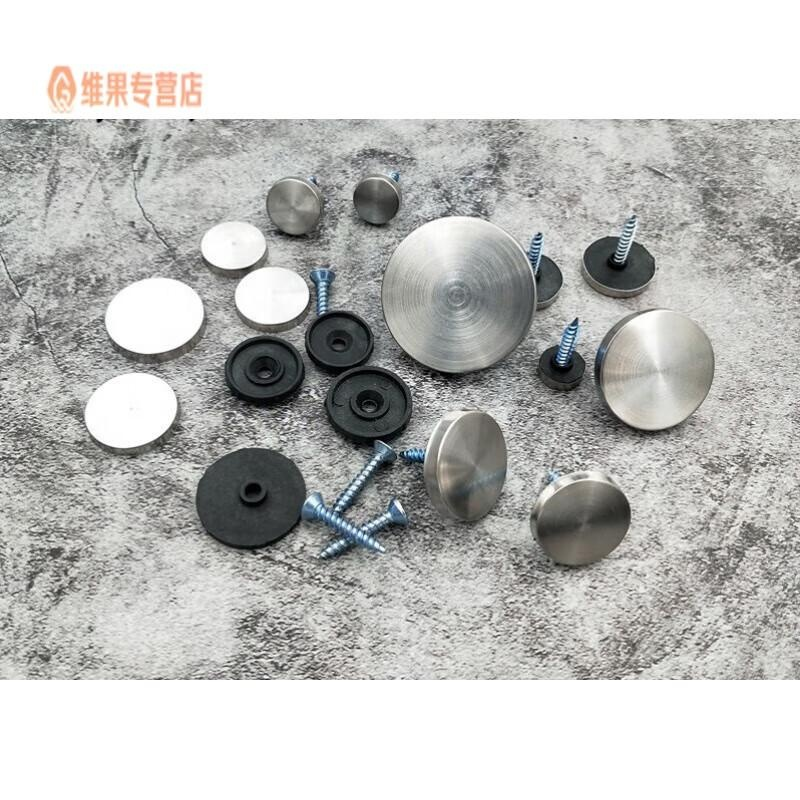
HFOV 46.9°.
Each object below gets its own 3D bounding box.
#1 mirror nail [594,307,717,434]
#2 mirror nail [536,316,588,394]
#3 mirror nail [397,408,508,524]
[{"bbox_3d":[1.078,-0.101,3.908,0.789,0.114,0.560,1,101,-5],"label":"mirror nail"},{"bbox_3d":[0.718,-0.186,4.105,0.310,0.262,0.198,16,56,1],"label":"mirror nail"},{"bbox_3d":[0.225,0.249,3.672,0.588,0.421,0.405,4,57,-2],"label":"mirror nail"}]
